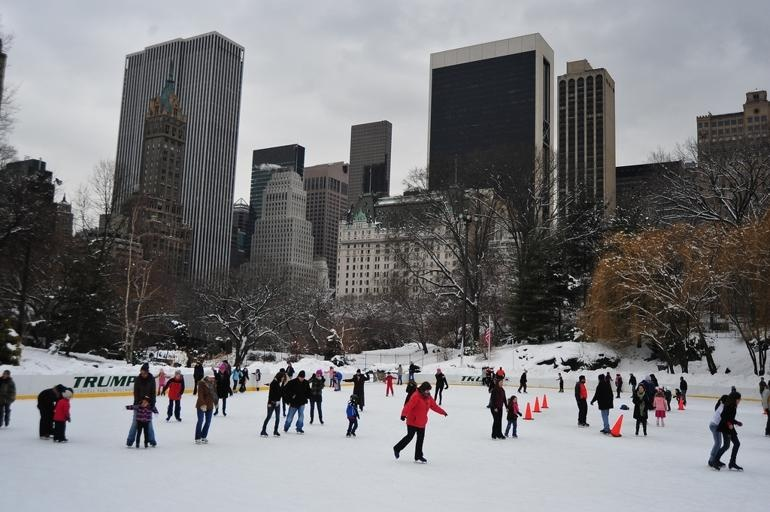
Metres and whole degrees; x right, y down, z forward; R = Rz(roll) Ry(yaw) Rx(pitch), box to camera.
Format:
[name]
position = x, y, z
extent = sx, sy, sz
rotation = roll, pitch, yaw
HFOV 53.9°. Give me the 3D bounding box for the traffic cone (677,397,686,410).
[traffic cone]
position = 16.517, 8.340, 42.339
extent = 0.511, 0.739, 0.546
rotation = -2, -13, 0
